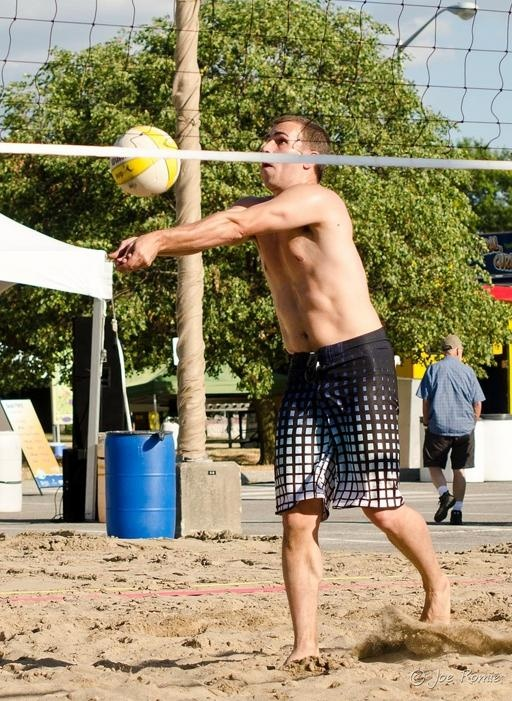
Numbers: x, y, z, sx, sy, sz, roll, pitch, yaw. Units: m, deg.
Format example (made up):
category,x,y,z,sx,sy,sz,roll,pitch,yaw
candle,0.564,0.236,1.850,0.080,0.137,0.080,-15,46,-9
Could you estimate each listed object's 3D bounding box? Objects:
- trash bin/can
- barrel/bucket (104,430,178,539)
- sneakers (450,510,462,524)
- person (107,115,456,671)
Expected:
category,x,y,z,sx,sy,sz,roll,pitch,yaw
trash bin/can,-0.881,1.038,8.854,0.630,0.836,0.541,-3,-4,30
barrel/bucket,-0.860,0.984,8.635,0.570,0.872,0.756,2,-4,-36
sneakers,1.696,1.417,9.985,0.085,0.137,0.139,2,-13,-6
person,0.140,0.248,4.156,1.208,1.669,0.400,2,-4,-42
